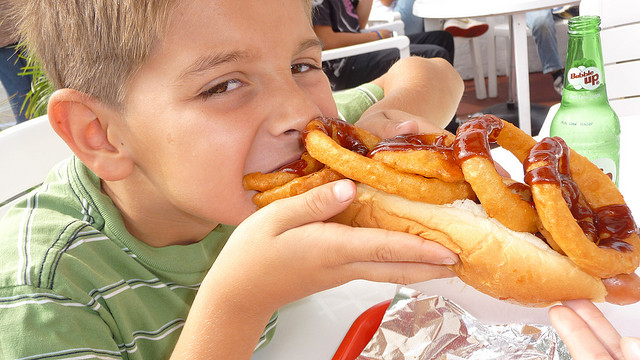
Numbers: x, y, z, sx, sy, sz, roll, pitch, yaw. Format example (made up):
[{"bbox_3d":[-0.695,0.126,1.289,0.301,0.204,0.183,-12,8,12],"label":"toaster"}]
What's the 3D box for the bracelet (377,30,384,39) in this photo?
[{"bbox_3d":[0.720,-1.704,5.514,0.033,0.107,0.114,-27,13,-1],"label":"bracelet"}]
